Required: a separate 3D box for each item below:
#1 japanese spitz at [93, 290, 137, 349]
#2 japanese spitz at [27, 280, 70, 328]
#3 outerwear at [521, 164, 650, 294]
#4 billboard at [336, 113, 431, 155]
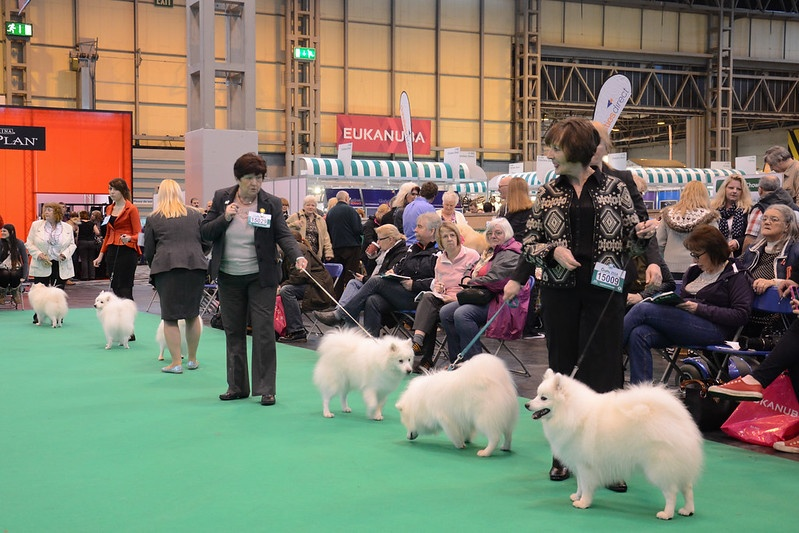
[{"bbox_3d":[-4.036,0.687,12.244,0.386,0.692,0.927,-2,6,-21],"label":"japanese spitz"},{"bbox_3d":[-5.649,0.604,14.155,0.420,0.733,0.913,-1,7,-43],"label":"japanese spitz"},{"bbox_3d":[1.493,-0.329,7.560,1.367,1.323,0.889,1,-3,3],"label":"outerwear"},{"bbox_3d":[-0.694,-4.603,30.714,2.320,1.050,0.026,1,-9,-17],"label":"billboard"}]
